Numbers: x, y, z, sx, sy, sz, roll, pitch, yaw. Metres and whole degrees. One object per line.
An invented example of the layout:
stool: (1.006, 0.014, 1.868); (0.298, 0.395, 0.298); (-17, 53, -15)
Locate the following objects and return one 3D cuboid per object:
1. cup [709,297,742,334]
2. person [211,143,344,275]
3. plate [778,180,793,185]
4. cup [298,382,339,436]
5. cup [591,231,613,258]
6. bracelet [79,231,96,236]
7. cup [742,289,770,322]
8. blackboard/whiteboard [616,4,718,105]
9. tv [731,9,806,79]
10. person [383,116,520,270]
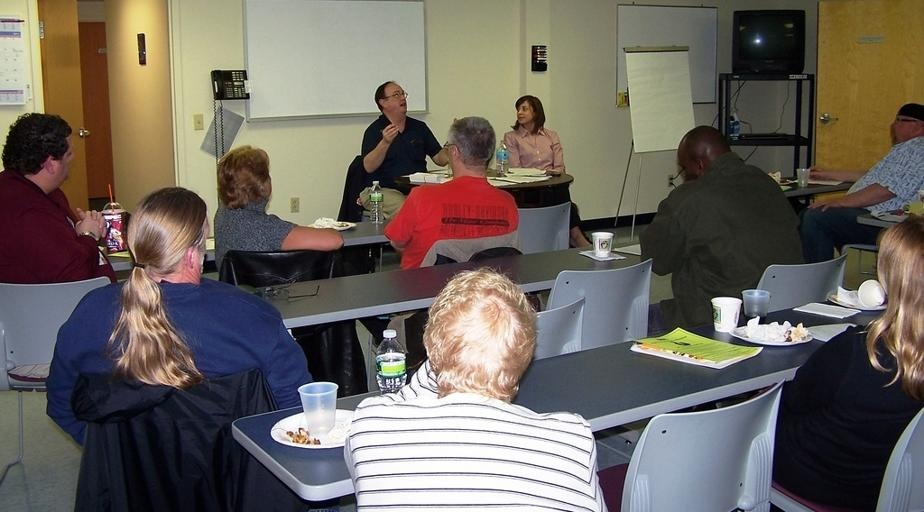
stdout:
cup: (1.302, 0.294, 3.257); (0.156, 0.156, 0.148); (-3, 7, 0)
person: (-1.157, -0.157, 4.266); (0.793, 1.023, 0.685); (10, 16, 30)
plate: (3.255, -0.737, 6.654); (0.114, 0.026, 0.103); (-2, 3, -30)
cup: (-0.537, 0.589, 2.597); (0.193, 0.188, 0.187); (-1, 2, 0)
cup: (0.898, -0.075, 4.298); (0.157, 0.163, 0.161); (-1, 8, 0)
bracelet: (-2.229, -0.129, 3.931); (0.045, 0.032, 0.043); (-1, 1, 4)
cup: (1.459, 0.253, 3.304); (0.143, 0.122, 0.147); (1, 1, 0)
blackboard/whiteboard: (2.567, -2.627, 8.460); (1.850, 1.575, 0.124); (-3, 5, -26)
tv: (4.067, -2.849, 9.004); (1.024, 0.825, 0.578); (-2, 1, -3)
person: (-0.006, -0.360, 4.453); (0.967, 1.126, 0.657); (-4, 22, -34)
